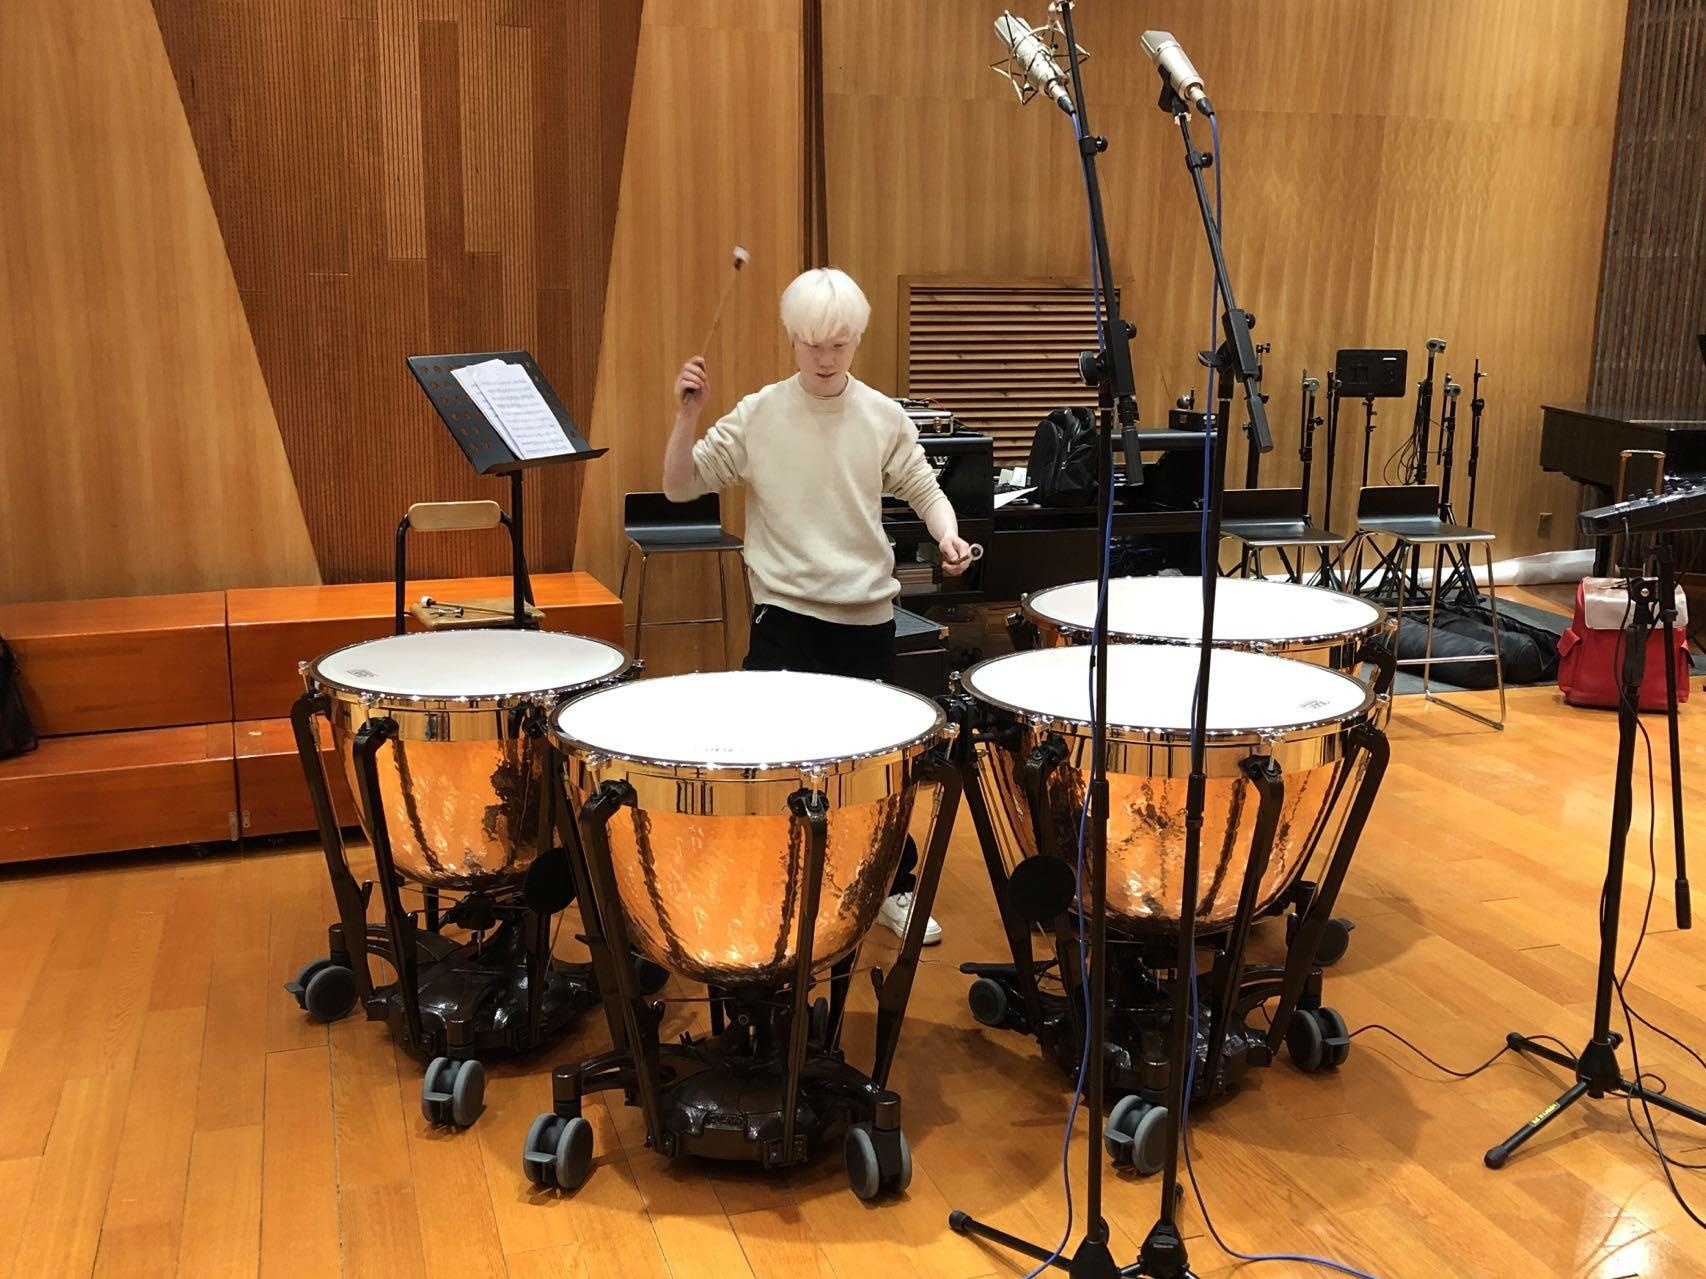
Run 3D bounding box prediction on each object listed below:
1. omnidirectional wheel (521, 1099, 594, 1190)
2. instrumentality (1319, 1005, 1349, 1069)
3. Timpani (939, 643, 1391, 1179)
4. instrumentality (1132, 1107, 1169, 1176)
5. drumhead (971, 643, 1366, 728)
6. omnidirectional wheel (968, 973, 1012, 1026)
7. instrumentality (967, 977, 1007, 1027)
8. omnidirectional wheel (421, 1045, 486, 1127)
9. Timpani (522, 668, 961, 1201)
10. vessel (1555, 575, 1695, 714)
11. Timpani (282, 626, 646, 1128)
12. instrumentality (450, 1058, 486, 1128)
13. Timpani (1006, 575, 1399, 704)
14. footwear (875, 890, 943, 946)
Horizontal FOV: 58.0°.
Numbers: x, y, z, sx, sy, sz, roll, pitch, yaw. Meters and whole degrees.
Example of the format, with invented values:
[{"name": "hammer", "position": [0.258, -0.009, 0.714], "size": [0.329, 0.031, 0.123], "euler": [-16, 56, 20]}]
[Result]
[{"name": "omnidirectional wheel", "position": [-0.624, 1.085, 3.348], "size": [0.125, 0.156, 0.178], "euler": [2, 13, 12]}, {"name": "instrumentality", "position": [1.157, 0.944, 3.673], "size": [0.045, 0.132, 0.097], "euler": [-3, -16, 26]}, {"name": "Timpani", "position": [0.800, 0.513, 3.484], "size": [0.778, 0.698, 0.781], "euler": [-1, 2, -17]}, {"name": "instrumentality", "position": [0.640, 1.081, 3.312], "size": [0.061, 0.153, 0.083], "euler": [3, 18, 17]}, {"name": "drumhead", "position": [0.762, 0.099, 3.508], "size": [0.379, 0.101, 0.383], "euler": [4, 9, 32]}, {"name": "omnidirectional wheel", "position": [0.346, 0.885, 3.788], "size": [0.134, 0.133, 0.052], "euler": [7, 16, 44]}, {"name": "instrumentality", "position": [0.340, 0.892, 3.791], "size": [0.118, 0.118, 0.043], "euler": [11, 20, 42]}, {"name": "omnidirectional wheel", "position": [-0.902, 1.016, 3.531], "size": [0.119, 0.161, 0.165], "euler": [2, 13, 11]}, {"name": "Timpani", "position": [-0.197, 0.645, 3.285], "size": [0.766, 0.731, 0.799], "euler": [-5, -11, 41]}, {"name": "vessel", "position": [3.134, 0.014, 6.194], "size": [0.527, 0.522, 0.337], "euler": [3, 12, 16]}, {"name": "Timpani", "position": [-0.896, 0.481, 3.846], "size": [0.889, 0.915, 0.916], "euler": [17, 17, 33]}, {"name": "instrumentality", "position": [-0.871, 1.022, 3.456], "size": [0.052, 0.146, 0.131], "euler": [1, -9, 22]}, {"name": "Timpani", "position": [1.001, -0.054, 3.979], "size": [0.540, 0.340, 0.527], "euler": [-7, 13, -25]}, {"name": "footwear", "position": [0.164, 0.760, 4.221], "size": [0.117, 0.131, 0.309], "euler": [0, 2, -31]}]
